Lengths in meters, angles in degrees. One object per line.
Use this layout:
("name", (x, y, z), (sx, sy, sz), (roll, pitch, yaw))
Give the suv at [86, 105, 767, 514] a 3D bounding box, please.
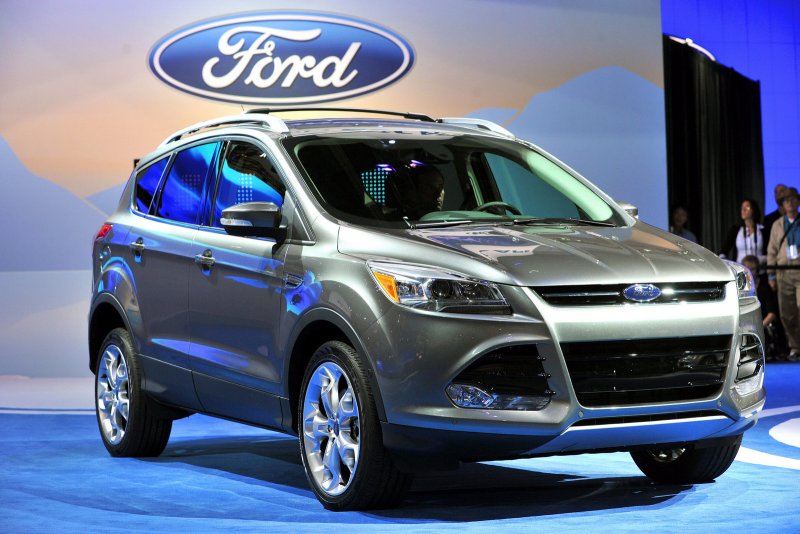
("suv", (-0.469, 0.234, 5.352), (2.914, 1.975, 5.146), (1, -3, -34))
